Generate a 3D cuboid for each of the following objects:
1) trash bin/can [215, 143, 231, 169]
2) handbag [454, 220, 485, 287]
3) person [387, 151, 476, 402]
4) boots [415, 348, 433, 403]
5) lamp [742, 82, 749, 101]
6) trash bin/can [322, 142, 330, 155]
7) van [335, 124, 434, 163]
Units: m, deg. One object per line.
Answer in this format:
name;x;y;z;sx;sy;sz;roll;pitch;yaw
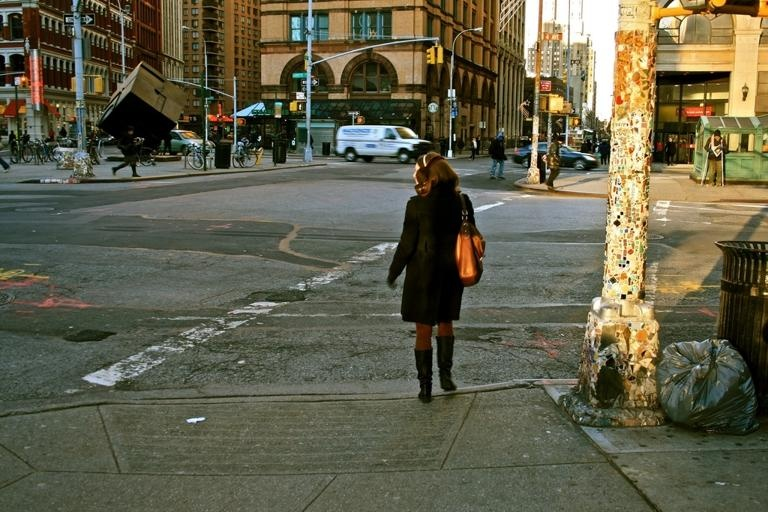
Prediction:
trash bin/can;-7.845;-4.977;37.063;0.675;1.231;0.552;-2;9;-17
handbag;0.808;-0.017;7.026;0.268;0.631;0.296;9;12;41
person;0.473;0.147;7.161;0.695;2.232;0.565;-5;11;-35
boots;0.379;1.080;7.061;0.154;0.449;0.339;1;9;-1
lamp;20.725;-9.429;43.376;0.429;0.918;0.292;4;9;17
trash bin/can;-4.877;-9.286;65.073;0.630;1.054;2.803;0;9;-8
van;-0.145;-7.330;49.077;6.573;2.358;2.006;9;12;40
